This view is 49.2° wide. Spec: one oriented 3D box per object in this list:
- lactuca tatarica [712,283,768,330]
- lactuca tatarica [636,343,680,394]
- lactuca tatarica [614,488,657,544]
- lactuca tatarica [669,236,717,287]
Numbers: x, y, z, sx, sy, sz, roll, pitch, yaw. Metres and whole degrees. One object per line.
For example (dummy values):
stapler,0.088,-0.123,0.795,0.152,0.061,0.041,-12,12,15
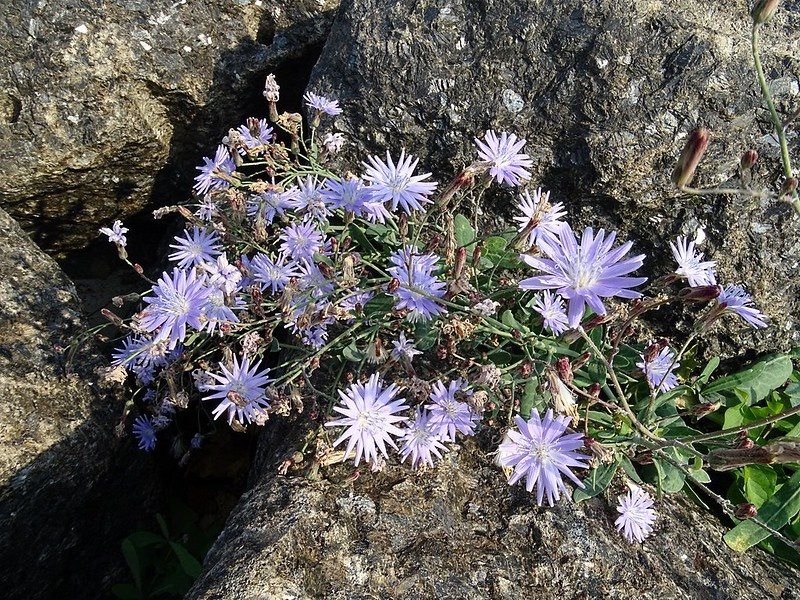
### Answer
lactuca tatarica,1.391,0.024,3.564,0.194,0.080,0.256,24,37,17
lactuca tatarica,1.088,0.276,3.617,0.178,0.219,0.091,23,-4,-5
lactuca tatarica,0.965,0.869,3.559,0.169,0.137,0.212,19,35,13
lactuca tatarica,1.204,-0.147,3.666,0.189,0.101,0.258,3,61,-21
